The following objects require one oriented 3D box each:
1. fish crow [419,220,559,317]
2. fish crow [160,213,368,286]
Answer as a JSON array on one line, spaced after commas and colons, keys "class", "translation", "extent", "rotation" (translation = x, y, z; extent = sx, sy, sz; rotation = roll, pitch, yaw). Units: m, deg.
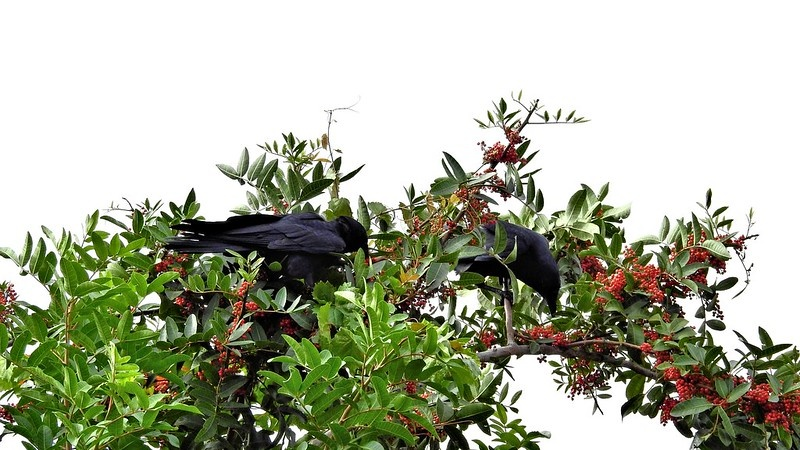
[{"class": "fish crow", "translation": [0.526, 0.154, 5.976], "extent": [0.576, 0.293, 0.309], "rotation": [29, -9, 18]}, {"class": "fish crow", "translation": [-0.597, 0.092, 5.567], "extent": [0.958, 0.331, 0.275], "rotation": [10, -12, -22]}]
